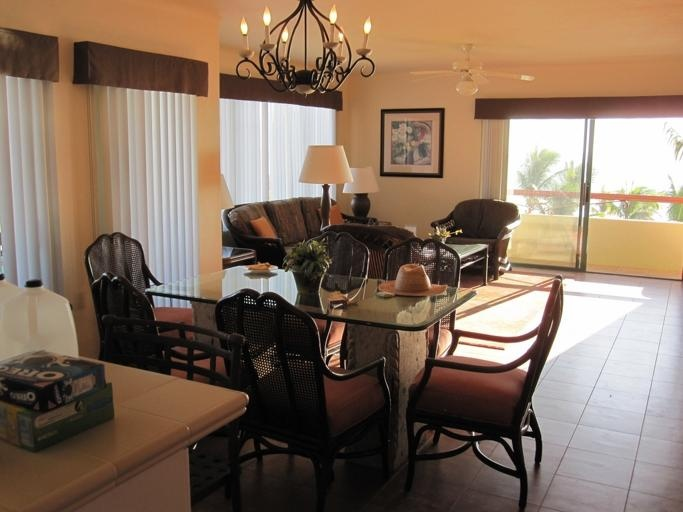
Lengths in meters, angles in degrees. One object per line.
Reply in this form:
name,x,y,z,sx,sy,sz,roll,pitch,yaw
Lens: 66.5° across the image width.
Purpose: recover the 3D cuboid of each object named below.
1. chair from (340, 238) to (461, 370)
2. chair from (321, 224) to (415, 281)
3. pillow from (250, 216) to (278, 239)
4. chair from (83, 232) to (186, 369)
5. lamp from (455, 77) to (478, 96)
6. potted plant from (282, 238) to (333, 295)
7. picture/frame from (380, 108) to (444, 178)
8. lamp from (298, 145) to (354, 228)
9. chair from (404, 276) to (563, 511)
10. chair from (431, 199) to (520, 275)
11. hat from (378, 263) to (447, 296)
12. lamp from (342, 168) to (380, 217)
chair,0.517,0.461,3.793,0.659,0.716,1.112,6,-32,1
chair,0.283,-0.133,4.536,0.574,0.645,0.565,10,18,41
pillow,-0.997,-0.349,6.366,0.094,0.308,0.331,-29,-7,27
chair,-1.266,0.354,3.694,0.753,1.068,0.632,-4,3,20
lamp,1.383,-1.879,5.741,0.177,0.163,0.291,5,12,21
potted plant,-0.268,0.063,3.395,0.334,0.334,0.335,-1,4,19
picture/frame,1.213,-1.925,8.705,1.208,1.203,0.091,3,5,30
lamp,-0.158,-0.614,4.984,0.549,0.812,0.516,9,12,40
chair,0.742,0.634,2.753,0.700,1.127,0.698,5,12,20
chair,2.005,-0.262,7.773,1.203,1.045,1.028,4,13,28
hat,0.421,0.141,3.111,0.402,0.139,0.418,1,6,-8
lamp,0.295,-0.951,8.193,0.612,0.827,0.611,-2,7,-8
